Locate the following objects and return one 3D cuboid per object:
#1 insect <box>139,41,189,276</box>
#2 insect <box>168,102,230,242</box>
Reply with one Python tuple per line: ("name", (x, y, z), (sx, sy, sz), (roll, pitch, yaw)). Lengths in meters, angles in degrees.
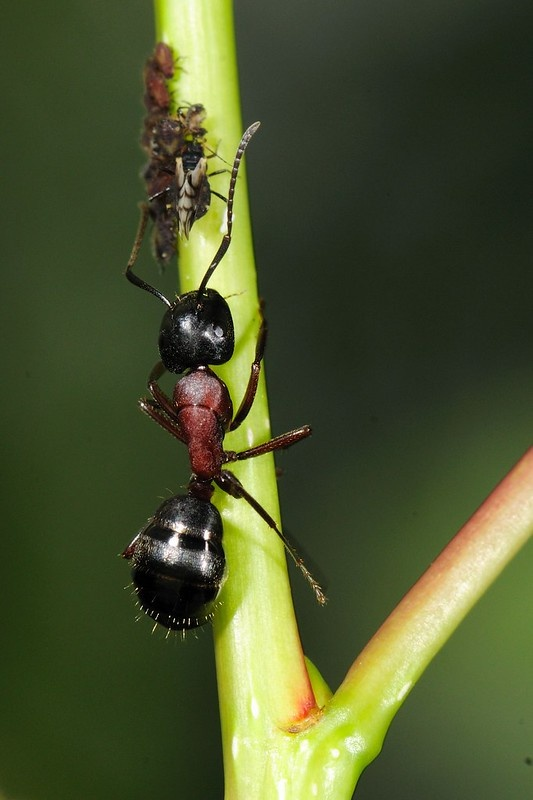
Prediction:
("insect", (-0.211, -0.455, 1.545), (0.068, 0.432, 0.090), (-4, 9, -44))
("insect", (-0.124, -0.407, 1.383), (0.139, 0.186, 0.057), (6, 11, 36))
